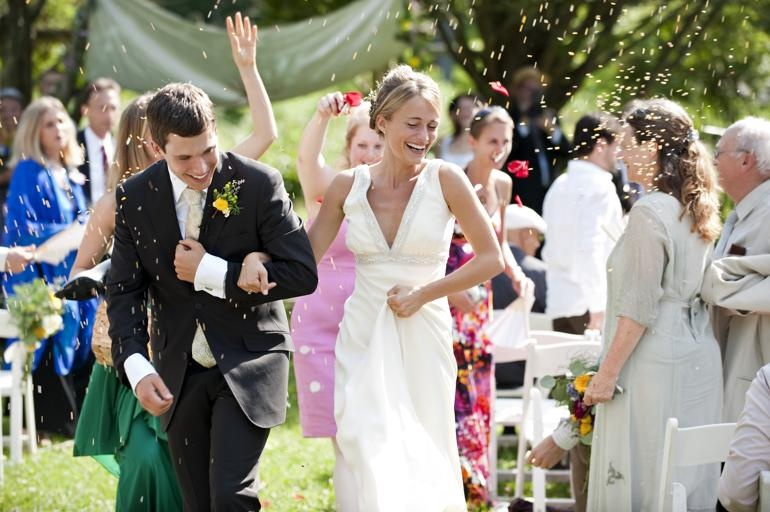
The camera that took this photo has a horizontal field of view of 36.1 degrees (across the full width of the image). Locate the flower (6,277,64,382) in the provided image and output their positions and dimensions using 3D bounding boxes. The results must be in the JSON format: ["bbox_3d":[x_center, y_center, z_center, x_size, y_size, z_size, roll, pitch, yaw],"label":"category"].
[{"bbox_3d":[-2.970,0.584,9.983,0.456,0.809,0.377,4,-9,-15],"label":"flower"}]

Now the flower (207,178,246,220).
[{"bbox_3d":[-1.028,-0.389,7.690,0.203,0.254,0.085,4,-9,-13],"label":"flower"}]

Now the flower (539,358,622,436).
[{"bbox_3d":[1.291,1.015,8.178,0.323,0.508,0.538,-4,-26,-15],"label":"flower"}]
